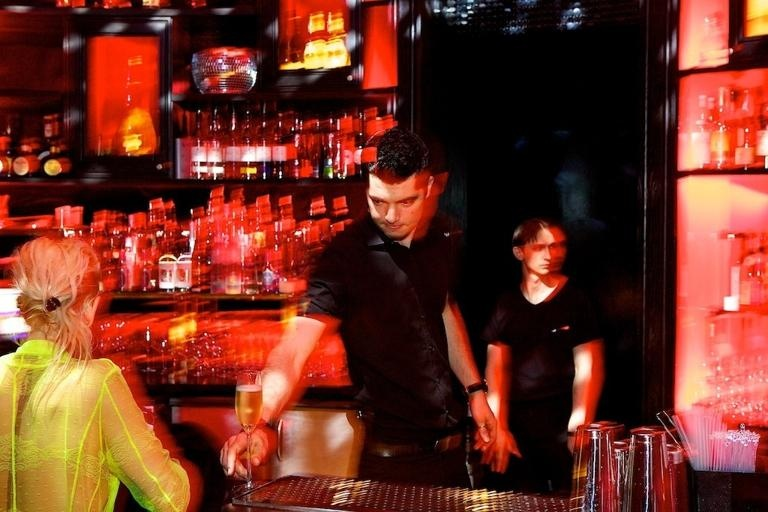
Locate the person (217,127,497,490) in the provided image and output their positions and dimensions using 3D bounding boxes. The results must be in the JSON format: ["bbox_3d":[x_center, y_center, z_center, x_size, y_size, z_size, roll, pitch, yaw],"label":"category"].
[{"bbox_3d":[-0.090,0.271,3.148,1.182,1.632,0.449,-3,2,-38],"label":"person"}]

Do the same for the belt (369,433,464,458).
[{"bbox_3d":[0.145,0.847,3.263,0.437,0.077,0.085,-2,2,-12],"label":"belt"}]

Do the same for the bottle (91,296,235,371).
[{"bbox_3d":[-1.298,0.468,4.245,0.875,0.260,0.426,1,1,7],"label":"bottle"}]

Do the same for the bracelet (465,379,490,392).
[{"bbox_3d":[0.437,0.601,3.407,0.085,0.050,0.084,-9,-11,-13],"label":"bracelet"}]
